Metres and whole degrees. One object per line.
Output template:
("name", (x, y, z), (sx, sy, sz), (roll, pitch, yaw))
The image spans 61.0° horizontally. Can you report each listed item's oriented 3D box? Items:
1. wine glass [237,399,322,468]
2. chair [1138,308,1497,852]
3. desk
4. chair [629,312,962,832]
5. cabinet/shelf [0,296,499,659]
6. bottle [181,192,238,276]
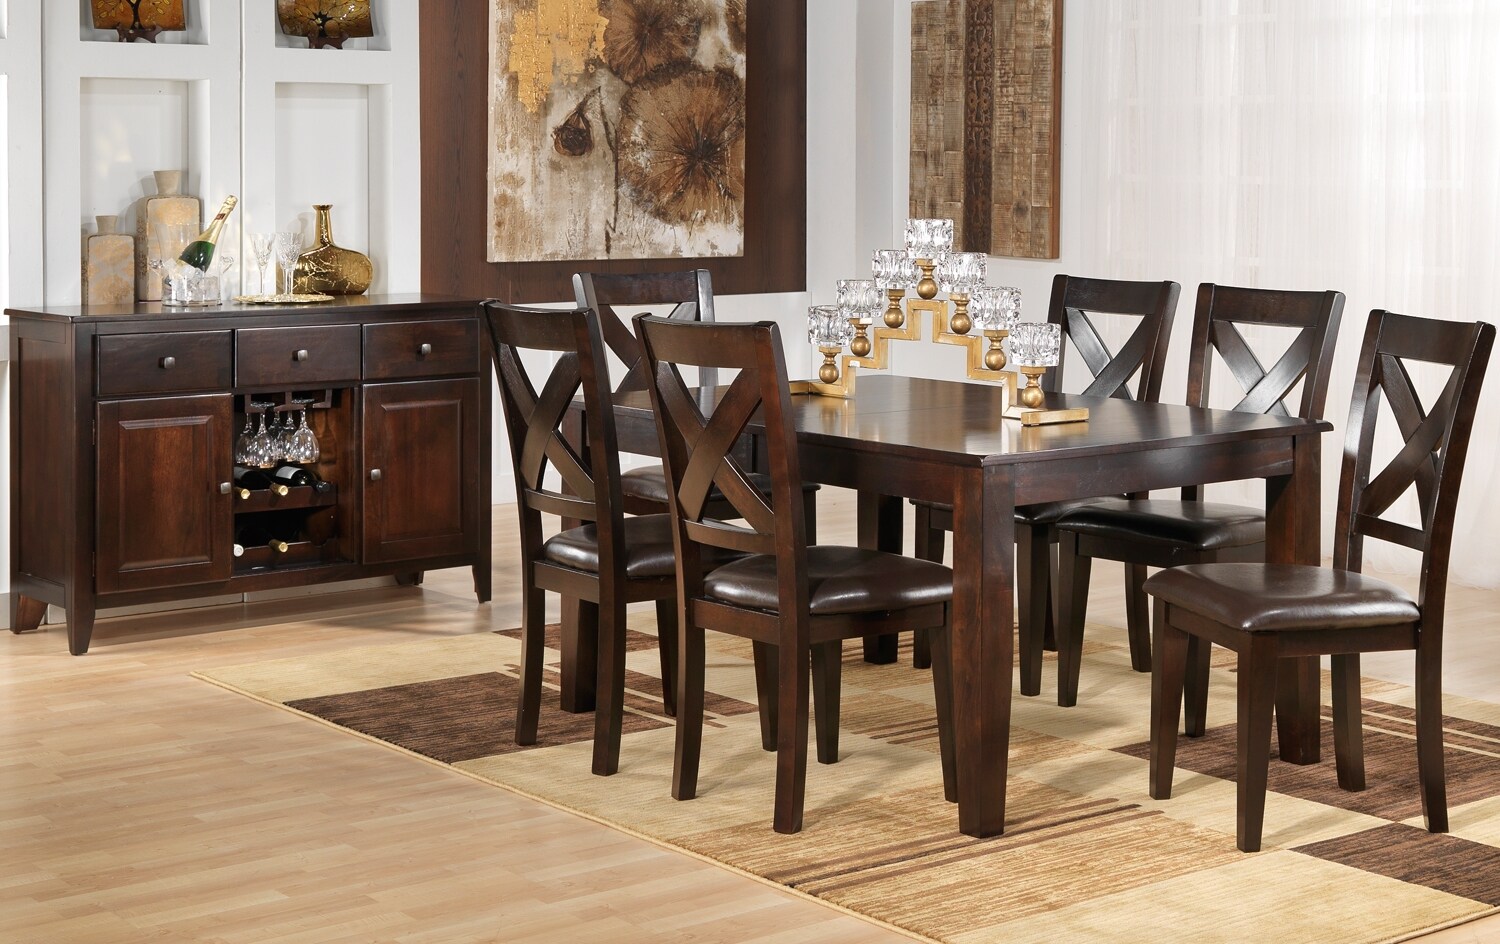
("wine glass", (-1.936, -0.148, 5.161), (0.317, 0.251, 0.302), (0, -1, -36))
("chair", (1.555, 0.254, 3.379), (0.879, 1.325, 0.602), (-6, 13, -26))
("desk", (0.857, 0.348, 4.106), (1.343, 0.752, 1.628), (-3, -3, -14))
("chair", (0.112, 0.255, 3.403), (0.896, 1.317, 0.518), (1, 12, 7))
("cabinet/shelf", (-2.063, 0.006, 5.047), (1.560, 0.920, 0.561), (-4, 10, -30))
("bottle", (-2.266, -1.000, 5.348), (0.193, 0.317, 0.348), (2, 11, 12))
